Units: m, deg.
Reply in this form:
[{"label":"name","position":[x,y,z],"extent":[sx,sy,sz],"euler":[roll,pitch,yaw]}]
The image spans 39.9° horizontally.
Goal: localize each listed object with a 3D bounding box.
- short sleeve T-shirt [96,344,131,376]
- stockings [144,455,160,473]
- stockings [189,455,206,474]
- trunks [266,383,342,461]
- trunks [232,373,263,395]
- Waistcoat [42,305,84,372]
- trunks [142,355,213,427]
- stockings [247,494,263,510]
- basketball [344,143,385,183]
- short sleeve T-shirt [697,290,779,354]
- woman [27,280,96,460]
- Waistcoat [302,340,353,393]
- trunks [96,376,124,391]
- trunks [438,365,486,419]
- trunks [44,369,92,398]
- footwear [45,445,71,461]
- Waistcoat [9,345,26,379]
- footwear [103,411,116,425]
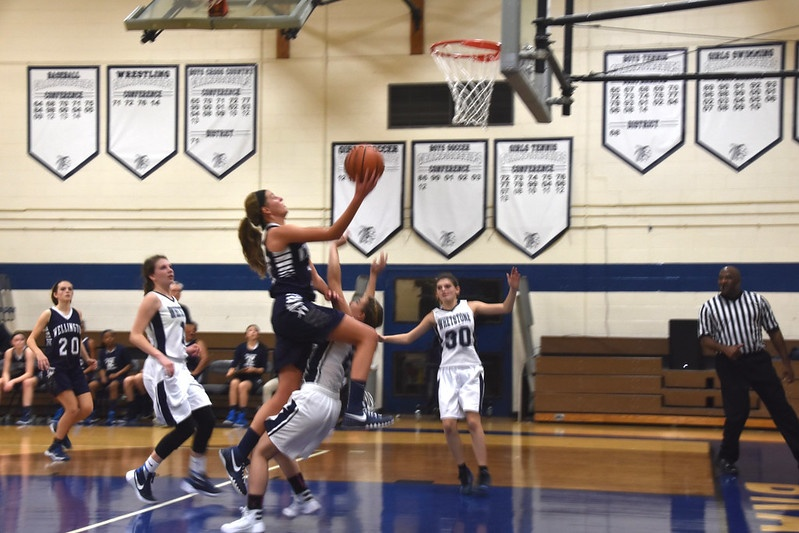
[{"label":"short sleeve T-shirt","position":[-5.018,1.630,19.052],"extent":[0.542,0.476,0.290],"euler":[0,-16,4]},{"label":"stockings","position":[-3.144,2.474,13.750],"extent":[0.175,0.270,0.236],"euler":[-2,9,-12]},{"label":"stockings","position":[-2.573,2.474,13.826],"extent":[0.204,0.200,0.204],"euler":[3,-13,-10]},{"label":"trunks","position":[-1.134,1.848,13.254],"extent":[0.666,0.933,1.008],"euler":[18,-1,36]},{"label":"trunks","position":[-2.610,1.921,18.595],"extent":[0.440,0.301,0.158],"euler":[10,0,-10]},{"label":"Waistcoat","position":[-5.004,1.049,16.134],"extent":[0.637,0.954,0.542],"euler":[4,-8,-43]},{"label":"trunks","position":[-2.957,1.540,14.013],"extent":[0.709,0.887,0.690],"euler":[-9,-7,10]},{"label":"stockings","position":[-1.722,2.768,12.956],"extent":[0.196,0.182,0.154],"euler":[2,-4,2]},{"label":"basketball","position":[-0.457,-1.241,13.033],"extent":[0.462,0.523,0.460],"euler":[0,9,-16]},{"label":"short sleeve T-shirt","position":[4.582,0.749,14.909],"extent":[1.184,0.887,0.492],"euler":[-7,-4,-4]},{"label":"woman","position":[-4.975,1.496,15.992],"extent":[0.861,2.625,1.035],"euler":[-8,-6,35]},{"label":"Waistcoat","position":[-0.898,1.152,13.241],"extent":[0.599,0.751,0.438],"euler":[-6,-19,40]},{"label":"trunks","position":[-5.120,1.963,18.924],"extent":[0.345,0.307,0.133],"euler":[9,-7,1]},{"label":"trunks","position":[0.783,1.609,14.239],"extent":[0.590,0.726,0.411],"euler":[-17,-45,29]},{"label":"trunks","position":[-4.877,1.696,15.973],"extent":[0.631,0.573,0.391],"euler":[5,-21,-22]},{"label":"footwear","position":[-4.917,2.631,15.565],"extent":[0.352,0.212,0.323],"euler":[-1,9,-9]},{"label":"Waistcoat","position":[-6.687,1.677,18.958],"extent":[0.349,0.461,0.161],"euler":[0,-6,7]},{"label":"footwear","position":[-5.035,2.569,18.872],"extent":[0.190,0.265,0.622],"euler":[-2,9,-14]}]
